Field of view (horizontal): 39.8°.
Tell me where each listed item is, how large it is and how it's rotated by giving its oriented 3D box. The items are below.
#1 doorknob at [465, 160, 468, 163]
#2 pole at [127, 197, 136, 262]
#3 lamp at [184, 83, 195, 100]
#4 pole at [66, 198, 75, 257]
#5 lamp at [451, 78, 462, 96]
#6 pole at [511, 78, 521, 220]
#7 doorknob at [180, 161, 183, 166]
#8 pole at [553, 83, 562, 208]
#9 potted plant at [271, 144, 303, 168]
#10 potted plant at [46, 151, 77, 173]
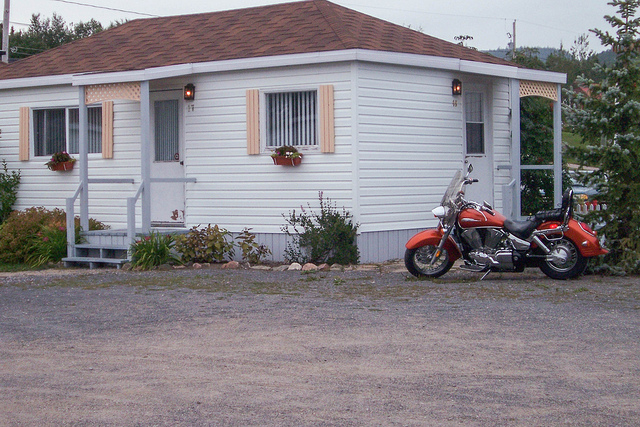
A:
[{"bbox_3d":[3.055,-1.095,18.450,0.049,0.048,0.027,1,-12,-2],"label":"doorknob"},{"bbox_3d":[-3.626,0.282,16.885,0.188,1.215,0.366,-3,10,-12],"label":"pole"},{"bbox_3d":[-2.674,-2.499,18.011,0.209,0.328,0.171,-3,10,-9],"label":"lamp"},{"bbox_3d":[-4.895,0.261,17.236,0.166,1.153,0.169,-4,10,-16],"label":"pole"},{"bbox_3d":[2.802,-2.604,18.043,0.253,0.469,0.278,1,3,12],"label":"lamp"},{"bbox_3d":[4.003,-1.400,18.276,0.201,3.137,0.211,-6,-10,43],"label":"pole"},{"bbox_3d":[-2.890,-1.059,18.353,0.108,0.102,0.027,1,-2,25],"label":"doorknob"},{"bbox_3d":[5.036,-1.420,18.607,0.186,3.356,0.196,-16,40,-3],"label":"pole"},{"bbox_3d":[-0.654,-1.117,17.298,0.546,0.391,0.432,3,4,7],"label":"potted plant"},{"bbox_3d":[-5.604,-1.120,19.173,0.462,0.302,0.465,2,5,1],"label":"potted plant"}]
